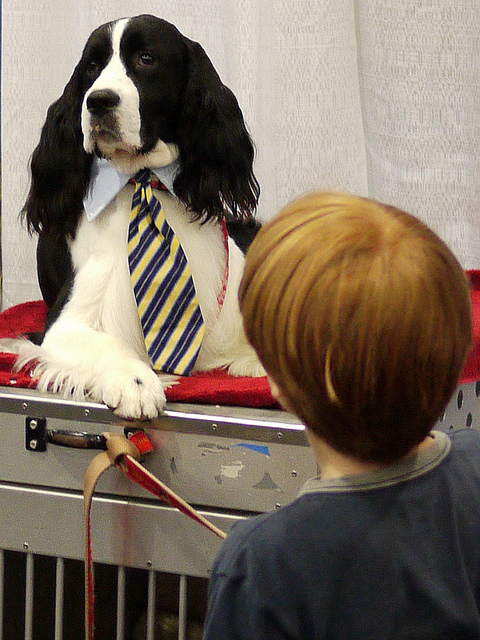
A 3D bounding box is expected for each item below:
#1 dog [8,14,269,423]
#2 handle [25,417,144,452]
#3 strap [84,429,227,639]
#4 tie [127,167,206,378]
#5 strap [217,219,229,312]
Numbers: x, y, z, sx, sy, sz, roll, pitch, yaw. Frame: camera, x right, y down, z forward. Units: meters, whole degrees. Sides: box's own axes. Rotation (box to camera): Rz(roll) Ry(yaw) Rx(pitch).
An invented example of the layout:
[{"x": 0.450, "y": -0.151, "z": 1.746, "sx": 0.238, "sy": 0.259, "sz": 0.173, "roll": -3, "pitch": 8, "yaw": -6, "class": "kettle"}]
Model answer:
[{"x": -0.154, "y": -0.225, "z": 2.148, "sx": 0.426, "sy": 0.618, "sz": 0.620, "roll": 1, "pitch": 12, "yaw": 15, "class": "dog"}, {"x": -0.251, "y": 0.160, "z": 1.812, "sx": 0.104, "sy": 0.049, "sz": 0.077, "roll": 4, "pitch": -4, "yaw": 16, "class": "handle"}, {"x": -0.121, "y": 0.289, "z": 1.755, "sx": 0.116, "sy": 0.304, "sz": 0.260, "roll": -4, "pitch": -4, "yaw": -12, "class": "strap"}, {"x": -0.119, "y": -0.078, "z": 2.008, "sx": 0.120, "sy": 0.293, "sz": 0.076, "roll": 2, "pitch": 1, "yaw": 7, "class": "tie"}, {"x": -0.029, "y": -0.080, "z": 2.090, "sx": 0.005, "sy": 0.166, "sz": 0.037, "roll": -1, "pitch": -18, "yaw": 22, "class": "strap"}]
